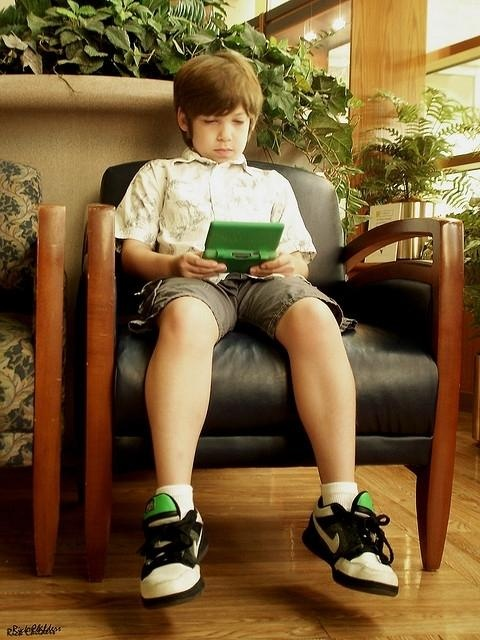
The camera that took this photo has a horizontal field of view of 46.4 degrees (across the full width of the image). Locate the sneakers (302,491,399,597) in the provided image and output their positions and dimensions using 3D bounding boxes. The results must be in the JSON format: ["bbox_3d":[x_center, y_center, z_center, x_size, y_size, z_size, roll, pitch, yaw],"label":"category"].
[{"bbox_3d":[0.153,0.303,0.790,0.126,0.114,0.140,1,-1,6],"label":"sneakers"}]

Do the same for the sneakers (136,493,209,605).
[{"bbox_3d":[-0.075,0.292,0.763,0.062,0.090,0.168,-3,-1,1],"label":"sneakers"}]

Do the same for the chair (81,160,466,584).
[{"bbox_3d":[0.132,0.091,1.275,0.810,0.896,0.762,1,2,-6],"label":"chair"}]
